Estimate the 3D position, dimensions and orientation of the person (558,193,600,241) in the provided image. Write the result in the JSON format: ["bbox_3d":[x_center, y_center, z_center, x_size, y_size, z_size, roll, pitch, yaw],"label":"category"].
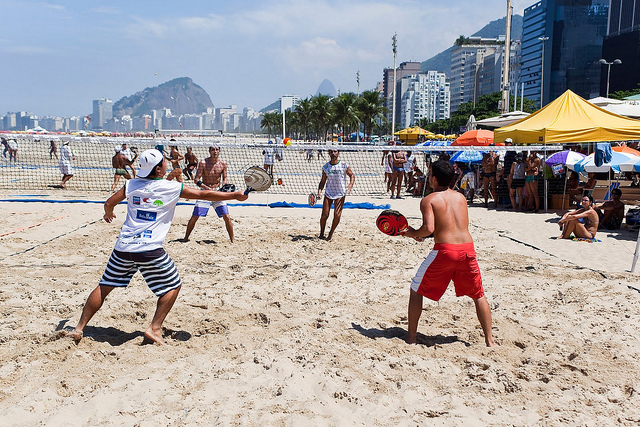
[{"bbox_3d":[5.183,0.090,13.189,0.640,0.761,1.120,7,15,34],"label":"person"}]

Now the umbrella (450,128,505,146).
[{"bbox_3d":[5.207,-2.474,21.940,1.103,0.498,1.125,0,1,28],"label":"umbrella"}]

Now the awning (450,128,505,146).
[{"bbox_3d":[5.145,-2.471,21.912,1.100,0.471,1.128,0,1,16],"label":"awning"}]

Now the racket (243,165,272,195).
[{"bbox_3d":[-0.864,-0.426,8.765,0.339,0.128,0.481,10,36,-5],"label":"racket"}]

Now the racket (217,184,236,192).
[{"bbox_3d":[-1.237,-0.337,8.714,0.231,0.089,0.104,0,-23,4],"label":"racket"}]

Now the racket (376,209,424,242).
[{"bbox_3d":[1.025,0.092,8.548,0.502,0.341,0.375,20,8,4],"label":"racket"}]

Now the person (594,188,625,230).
[{"bbox_3d":[6.305,-0.108,14.344,0.581,0.879,0.511,11,14,36],"label":"person"}]

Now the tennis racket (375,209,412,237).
[{"bbox_3d":[0.932,0.120,8.635,0.408,0.363,0.435,-4,9,-19],"label":"tennis racket"}]

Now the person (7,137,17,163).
[{"bbox_3d":[-12.904,-2.679,27.735,0.296,1.120,3.550,-7,14,-25],"label":"person"}]

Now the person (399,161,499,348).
[{"bbox_3d":[1.619,0.527,8.431,1.160,2.325,0.474,0,12,6],"label":"person"}]

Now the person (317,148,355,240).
[{"bbox_3d":[0.309,-0.405,13.248,0.691,1.788,1.443,-1,13,2],"label":"person"}]

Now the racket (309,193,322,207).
[{"bbox_3d":[-0.130,-0.258,12.993,0.189,0.202,0.063,3,0,30],"label":"racket"}]
